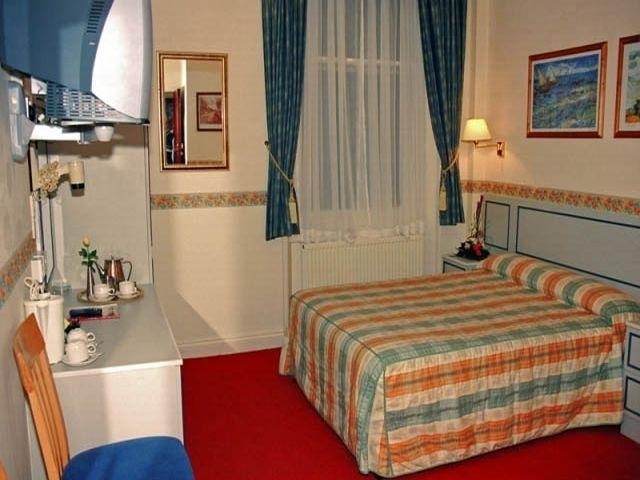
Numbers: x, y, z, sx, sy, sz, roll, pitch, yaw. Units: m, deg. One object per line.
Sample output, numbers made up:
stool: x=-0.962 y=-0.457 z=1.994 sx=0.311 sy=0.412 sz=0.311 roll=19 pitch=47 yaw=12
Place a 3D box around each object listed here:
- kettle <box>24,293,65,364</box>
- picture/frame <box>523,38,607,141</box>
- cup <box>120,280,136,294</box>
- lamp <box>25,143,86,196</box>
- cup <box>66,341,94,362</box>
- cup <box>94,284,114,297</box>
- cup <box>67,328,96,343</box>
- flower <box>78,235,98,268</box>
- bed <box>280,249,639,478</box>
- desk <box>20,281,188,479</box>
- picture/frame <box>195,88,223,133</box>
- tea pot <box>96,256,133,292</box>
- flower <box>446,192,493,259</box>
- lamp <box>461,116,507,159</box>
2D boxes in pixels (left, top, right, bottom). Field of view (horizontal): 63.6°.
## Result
kettle: x=-1.446 y=0.462 z=2.695 sx=0.171 sy=0.334 sz=0.292 roll=-3 pitch=10 yaw=-20
picture/frame: x=2.326 y=-1.416 z=4.833 sx=0.038 sy=1.041 sz=0.953 roll=-2 pitch=6 yaw=-23
cup: x=-1.430 y=0.344 z=3.838 sx=0.096 sy=0.084 sz=0.075 roll=-11 pitch=19 yaw=-35
lamp: x=-1.855 y=-0.472 z=3.648 sx=0.338 sy=0.401 sz=0.318 roll=-2 pitch=5 yaw=-26
cup: x=-1.351 y=0.629 z=2.911 sx=0.130 sy=0.099 sz=0.098 roll=4 pitch=-1 yaw=-38
cup: x=-1.588 y=0.366 z=3.782 sx=0.100 sy=0.088 sz=0.084 roll=4 pitch=-3 yaw=-5
cup: x=-1.355 y=0.545 z=2.931 sx=0.121 sy=0.100 sz=0.099 roll=6 pitch=-5 yaw=-13
flower: x=-1.749 y=0.079 z=3.879 sx=0.139 sy=0.256 sz=0.169 roll=-4 pitch=22 yaw=-12
bed: x=1.152 y=0.868 z=3.841 sx=1.876 sy=0.712 sz=1.544 roll=-6 pitch=14 yaw=-23
desk: x=-1.193 y=0.342 z=3.126 sx=0.539 sy=0.970 sz=1.646 roll=-6 pitch=17 yaw=-10
picture/frame: x=-1.108 y=-1.294 z=5.080 sx=0.347 sy=0.553 sz=0.032 roll=-3 pitch=5 yaw=-27
tea pot: x=-1.551 y=0.241 z=3.927 sx=0.254 sy=0.290 sz=0.185 roll=3 pitch=-2 yaw=-20
flower: x=1.676 y=-0.181 z=5.950 sx=0.548 sy=0.834 sz=0.550 roll=12 pitch=11 yaw=40
lamp: x=1.761 y=-1.130 z=5.705 sx=0.446 sy=0.415 sz=0.486 roll=-3 pitch=14 yaw=-6
